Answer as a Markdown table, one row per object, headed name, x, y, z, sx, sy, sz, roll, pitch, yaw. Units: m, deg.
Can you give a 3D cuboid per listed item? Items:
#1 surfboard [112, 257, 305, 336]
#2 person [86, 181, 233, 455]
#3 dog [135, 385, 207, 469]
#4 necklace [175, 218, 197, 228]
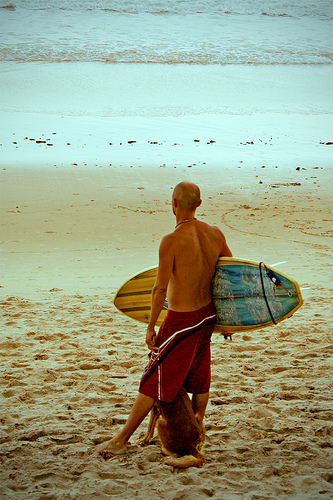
| name | x | y | z | sx | sy | sz | roll | pitch | yaw |
| --- | --- | --- | --- | --- | --- | --- | --- | --- | --- |
| surfboard | 0.276 | 0.329 | 4.302 | 0.893 | 0.241 | 0.779 | -2 | 3 | -6 |
| person | 0.013 | 0.395 | 3.892 | 0.469 | 1.559 | 0.859 | 14 | 22 | 35 |
| dog | 0.024 | 1.052 | 3.882 | 0.263 | 0.492 | 0.296 | -2 | -28 | -18 |
| necklace | 0.108 | -0.157 | 3.920 | 0.111 | 0.068 | 0.176 | 1 | 14 | 2 |
